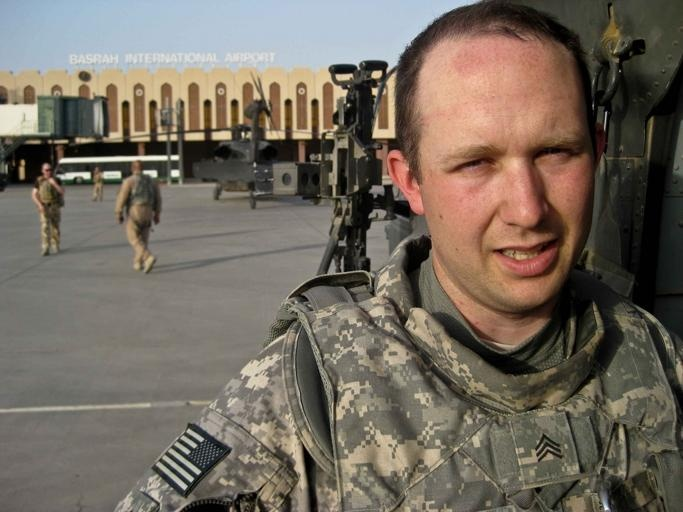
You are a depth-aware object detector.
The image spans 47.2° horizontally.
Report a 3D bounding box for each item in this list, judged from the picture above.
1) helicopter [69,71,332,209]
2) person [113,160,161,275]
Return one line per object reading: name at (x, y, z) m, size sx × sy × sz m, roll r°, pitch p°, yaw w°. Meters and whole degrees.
helicopter at (-7.634, -8.744, 49.269) m, size 12.538 × 9.544 × 20.332 m, roll 2°, pitch 13°, yaw -14°
person at (-2.797, -0.536, 10.928) m, size 0.545 × 1.587 × 0.731 m, roll 0°, pitch 1°, yaw -36°
